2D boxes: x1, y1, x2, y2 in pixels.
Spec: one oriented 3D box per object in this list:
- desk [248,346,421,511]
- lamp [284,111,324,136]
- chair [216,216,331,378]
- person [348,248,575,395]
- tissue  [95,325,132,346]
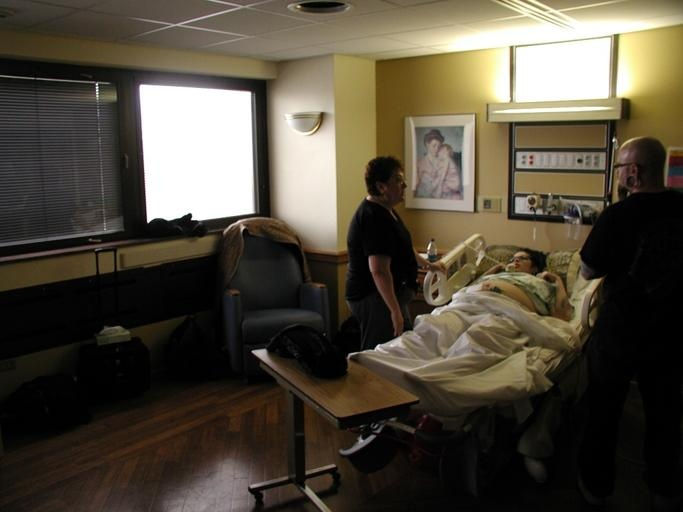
[{"bbox_3d":[-0.011,1.027,2.963,0.411,0.717,0.805,-6,13,-29],"label":"desk"},{"bbox_3d":[-0.360,-1.257,4.895,0.388,0.218,0.152,12,18,42],"label":"lamp"},{"bbox_3d":[-0.609,0.337,4.632,0.940,1.242,0.886,-5,14,-16],"label":"chair"},{"bbox_3d":[0.890,0.519,3.157,0.770,0.313,1.111,12,26,42],"label":"person"},{"bbox_3d":[-1.839,0.634,4.158,0.242,0.118,0.235,-7,15,-22],"label":"tissue "}]
